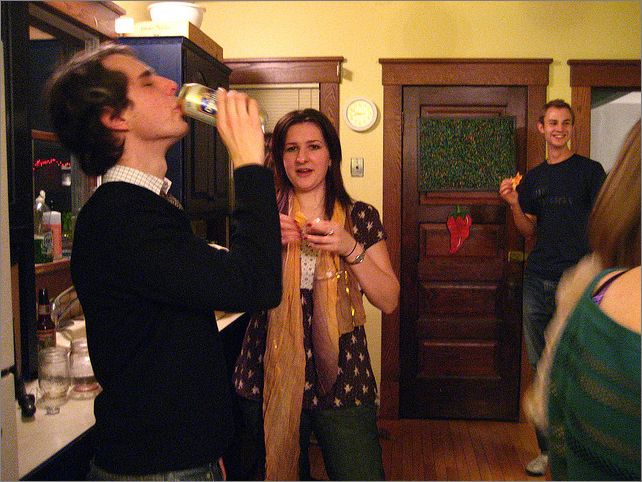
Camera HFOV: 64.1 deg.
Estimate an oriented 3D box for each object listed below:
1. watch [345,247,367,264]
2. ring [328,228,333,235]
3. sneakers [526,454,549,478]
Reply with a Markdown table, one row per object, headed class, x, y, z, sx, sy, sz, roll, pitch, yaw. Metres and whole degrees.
| class | x | y | z | sx | sy | sz | roll | pitch | yaw |
| --- | --- | --- | --- | --- | --- | --- | --- | --- | --- |
| watch | 0.130 | 0.049 | 1.771 | 0.045 | 0.020 | 0.045 | -38 | 15 | -19 |
| ring | 0.034 | -0.029 | 1.722 | 0.015 | 0.016 | 0.007 | 0 | 3 | -20 |
| sneakers | 1.215 | 1.242 | 2.902 | 0.104 | 0.116 | 0.161 | 1 | 6 | 19 |
